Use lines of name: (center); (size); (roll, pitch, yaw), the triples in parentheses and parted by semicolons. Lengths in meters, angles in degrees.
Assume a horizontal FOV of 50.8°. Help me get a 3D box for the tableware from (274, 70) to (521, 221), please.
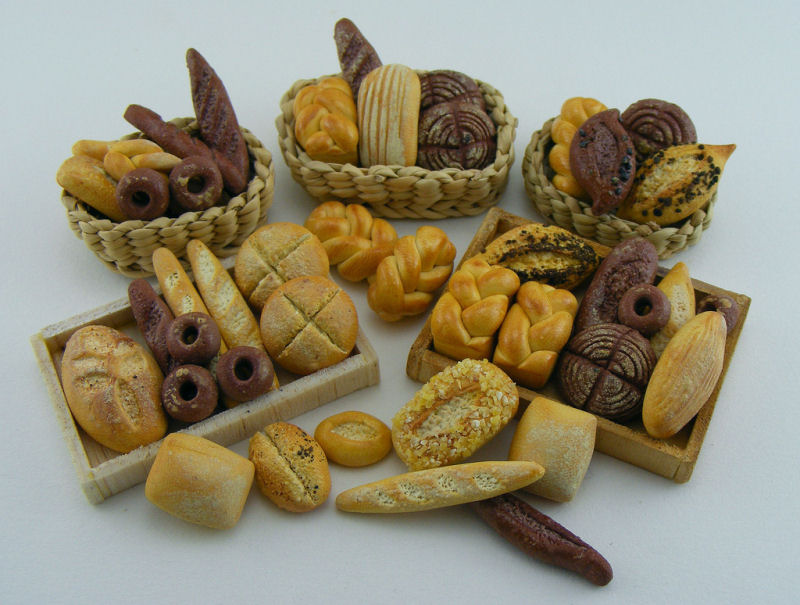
tableware: (0.002, -0.541, 3.166); (0.748, 0.247, 0.586); (2, 61, -3)

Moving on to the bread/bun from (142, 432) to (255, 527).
bread/bun: (-0.621, 0.542, 2.623); (0.301, 0.230, 0.250); (9, 33, -3)

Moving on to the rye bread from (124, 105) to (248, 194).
rye bread: (-0.779, -0.575, 3.062); (0.455, 0.094, 0.265); (45, 29, 6)

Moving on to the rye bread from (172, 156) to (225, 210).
rye bread: (-0.718, -0.413, 2.963); (0.190, 0.186, 0.109); (-11, 29, -20)

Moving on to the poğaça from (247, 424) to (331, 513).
poğaça: (-0.357, 0.510, 2.662); (0.249, 0.117, 0.338); (-9, 39, -27)

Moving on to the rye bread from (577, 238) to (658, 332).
rye bread: (0.764, -0.052, 2.888); (0.177, 0.112, 0.389); (30, 85, 30)

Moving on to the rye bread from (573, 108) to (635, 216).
rye bread: (0.727, -0.504, 2.988); (0.210, 0.362, 0.078); (13, -4, 20)

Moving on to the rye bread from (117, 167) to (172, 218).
rye bread: (-0.886, -0.372, 2.902); (0.178, 0.168, 0.103); (-13, 30, -23)
